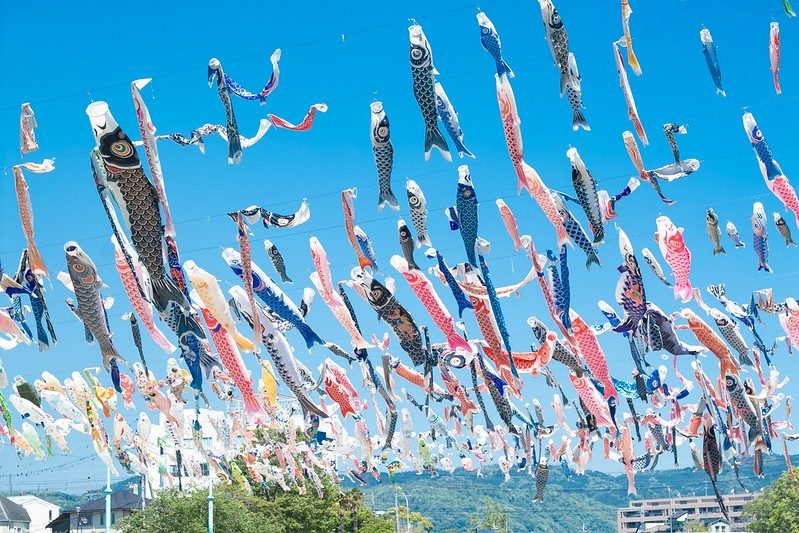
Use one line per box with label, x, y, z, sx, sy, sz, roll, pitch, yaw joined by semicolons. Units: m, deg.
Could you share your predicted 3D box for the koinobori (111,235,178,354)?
koinobori;-12.333;0.804;89.730;2.270;6.238;2.726;3;0;41
